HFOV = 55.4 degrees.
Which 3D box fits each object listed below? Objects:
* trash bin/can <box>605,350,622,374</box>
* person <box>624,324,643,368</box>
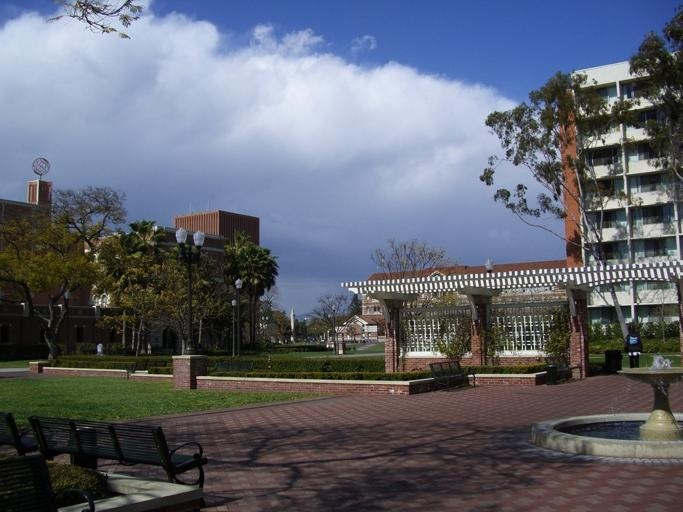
[{"bbox_3d":[11.488,4.454,27.343,0.620,0.924,0.951,-4,-7,21],"label":"trash bin/can"},{"bbox_3d":[10.789,3.332,23.949,0.554,1.705,0.532,-1,14,26],"label":"person"}]
